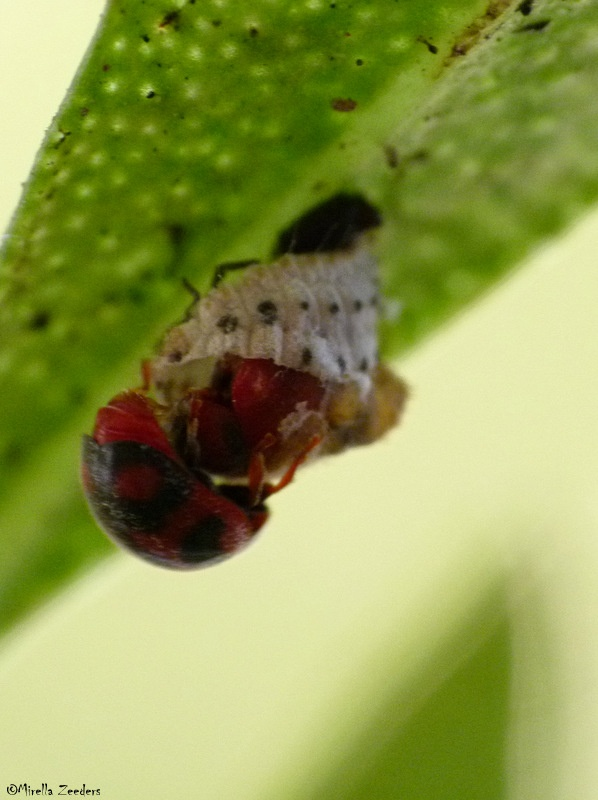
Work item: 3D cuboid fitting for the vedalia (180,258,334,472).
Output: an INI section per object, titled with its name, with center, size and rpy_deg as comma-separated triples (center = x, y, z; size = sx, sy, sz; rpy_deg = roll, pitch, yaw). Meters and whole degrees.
[vedalia]
center = -0.029, -0.024, 0.638
size = 0.070, 0.134, 0.131
rpy_deg = -3, 79, 37
